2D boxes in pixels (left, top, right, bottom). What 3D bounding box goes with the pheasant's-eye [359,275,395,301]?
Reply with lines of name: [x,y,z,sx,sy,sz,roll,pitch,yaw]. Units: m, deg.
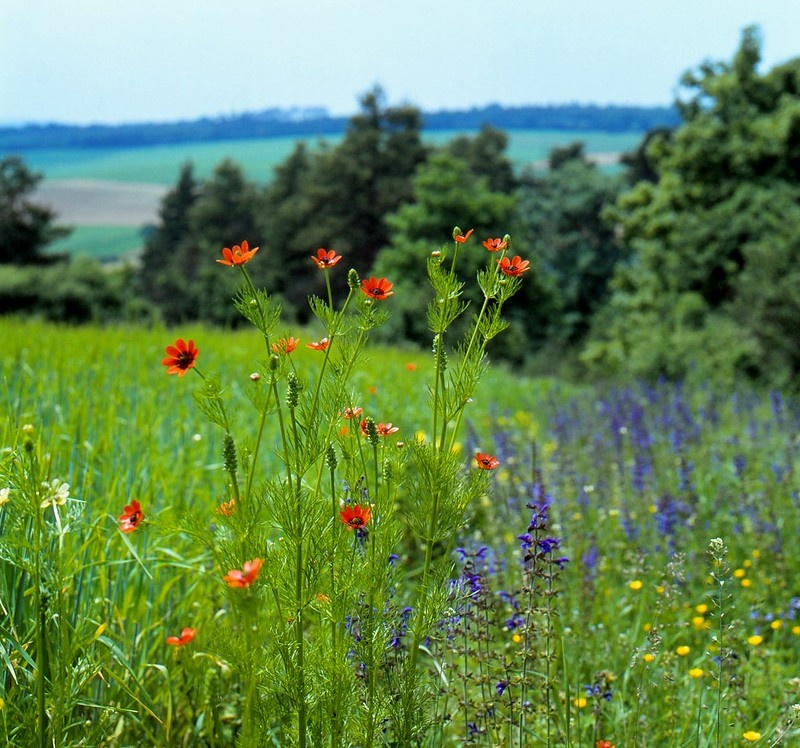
pheasant's-eye: [-0.088,-0.282,4.111,0.100,0.080,0.207,2,7,-2]
